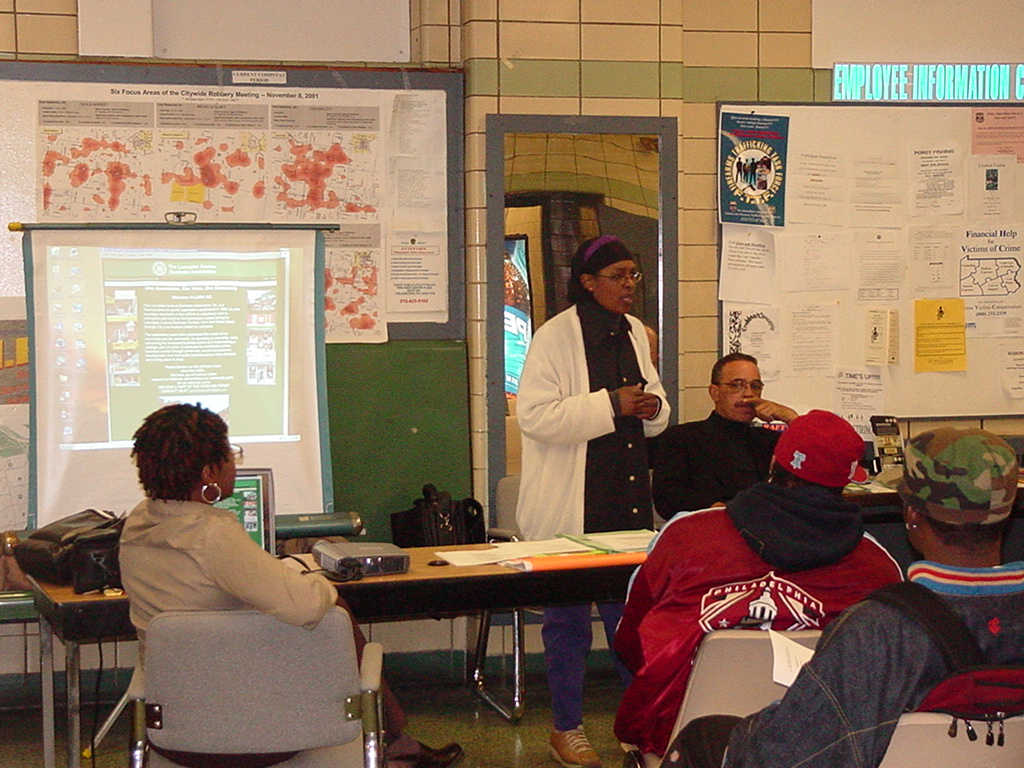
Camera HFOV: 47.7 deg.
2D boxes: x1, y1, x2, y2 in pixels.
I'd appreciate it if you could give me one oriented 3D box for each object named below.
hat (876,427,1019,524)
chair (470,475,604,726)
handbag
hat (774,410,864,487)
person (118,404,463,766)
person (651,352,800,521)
[{"bbox_3d":[0.992,0.208,2.630,0.178,0.131,0.243,0,9,-4],"label":"hat"},{"bbox_3d":[-0.058,0.995,4.967,0.648,1.270,0.733,1,-5,-15],"label":"chair"},{"bbox_3d":[-1.405,0.538,3.683,0.274,0.135,0.357,-1,-2,-27],"label":"handbag"},{"bbox_3d":[0.873,0.172,3.215,0.239,0.178,0.266,9,-1,4],"label":"hat"},{"bbox_3d":[-0.589,0.341,3.266,0.823,0.970,0.477,-1,-3,-42],"label":"person"},{"bbox_3d":[0.859,0.430,4.507,0.565,1.039,0.505,3,-7,8],"label":"person"}]
